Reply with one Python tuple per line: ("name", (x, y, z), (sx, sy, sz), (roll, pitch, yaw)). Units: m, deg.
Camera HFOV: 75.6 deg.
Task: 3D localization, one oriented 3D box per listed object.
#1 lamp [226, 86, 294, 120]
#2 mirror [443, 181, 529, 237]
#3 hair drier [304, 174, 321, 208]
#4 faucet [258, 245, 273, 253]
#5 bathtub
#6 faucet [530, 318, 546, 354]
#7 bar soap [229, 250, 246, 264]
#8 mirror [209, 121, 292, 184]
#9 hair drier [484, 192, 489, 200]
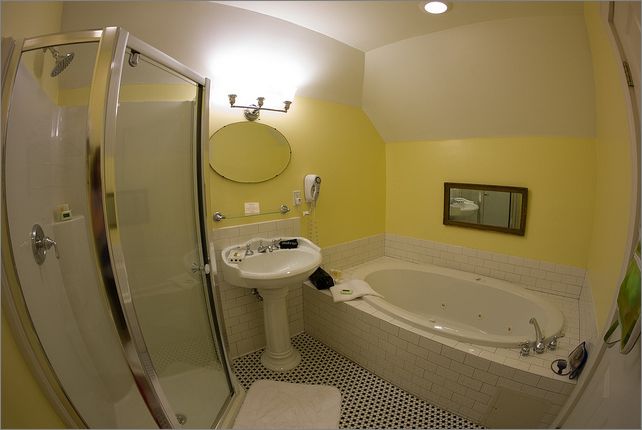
("lamp", (-0.477, -0.909, 3.451), (0.616, 0.252, 0.189), (-6, 12, -28))
("mirror", (1.536, -0.068, 3.914), (0.722, 0.528, 0.024), (7, 40, 28))
("hair drier", (-0.064, -0.221, 3.816), (0.158, 0.301, 0.194), (-4, 11, -20))
("faucet", (-0.467, 0.283, 3.474), (0.050, 0.071, 0.116), (-4, 8, -37))
("bathtub", (1.079, 0.861, 3.589), (1.771, 0.476, 1.121), (7, 12, 33))
("faucet", (1.542, 0.871, 2.984), (0.079, 0.106, 0.264), (2, 35, 17))
("bar soap", (-0.666, 0.338, 3.288), (0.081, 0.035, 0.115), (3, 12, 5))
("mirror", (-0.619, -0.529, 3.449), (0.589, 0.417, 0.009), (-6, 14, -33))
("hair drier", (1.550, -0.195, 3.872), (0.020, 0.071, 0.047), (1, 1, 45))
